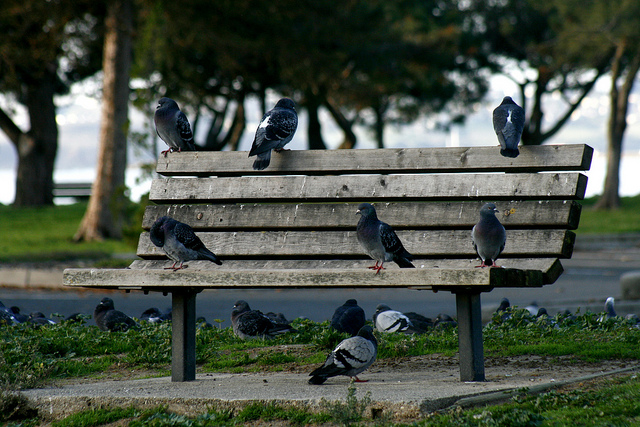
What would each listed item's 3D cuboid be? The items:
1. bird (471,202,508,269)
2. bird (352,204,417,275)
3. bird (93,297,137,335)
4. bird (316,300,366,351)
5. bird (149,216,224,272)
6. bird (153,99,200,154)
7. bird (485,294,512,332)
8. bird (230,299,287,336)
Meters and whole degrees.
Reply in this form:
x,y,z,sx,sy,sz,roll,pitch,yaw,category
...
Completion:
x,y,z,sx,sy,sz,roll,pitch,yaw,category
4.435,0.577,43.534,0.797,1.693,1.079,1,1,21,bird
1.573,0.662,43.345,1.519,1.828,1.144,-1,-2,0,bird
-5.585,2.944,46.743,1.514,1.004,0.812,7,-3,-4,bird
0.624,3.037,45.860,0.957,1.534,1.917,-5,-16,27,bird
-3.583,0.821,43.919,2.105,1.358,1.006,5,-16,-38,bird
-3.967,-2.402,45.099,1.074,1.463,0.788,-1,-2,0,bird
4.978,2.835,46.474,0.456,0.956,0.709,22,-18,-31,bird
-1.831,2.906,46.156,1.431,0.913,0.762,-1,-9,11,bird
